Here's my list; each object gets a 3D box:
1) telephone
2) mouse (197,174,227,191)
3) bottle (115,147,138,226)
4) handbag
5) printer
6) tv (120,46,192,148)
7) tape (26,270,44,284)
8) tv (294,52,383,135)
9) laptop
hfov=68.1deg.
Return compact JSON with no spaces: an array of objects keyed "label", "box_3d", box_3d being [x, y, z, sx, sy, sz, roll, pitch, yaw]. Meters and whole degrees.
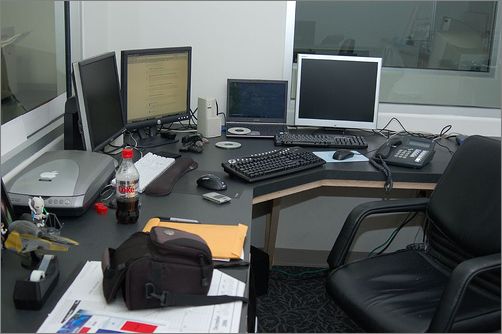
[{"label":"telephone","box_3d":[0.920,-0.069,2.224,0.375,0.147,0.344,18,43,35]},{"label":"mouse","box_3d":[-0.193,0.069,1.834,0.122,0.044,0.074,4,19,23]},{"label":"bottle","box_3d":[-0.531,0.064,1.565,0.110,0.281,0.221,-7,28,-16]},{"label":"handbag","box_3d":[-0.274,0.295,1.199,0.364,0.152,0.261,2,9,-18]},{"label":"printer","box_3d":[-0.865,0.060,1.684,0.350,0.125,0.389,2,27,0]},{"label":"tv","box_3d":[-0.614,-0.455,2.355,0.231,0.646,0.577,19,24,41]},{"label":"tape","box_3d":[-0.675,0.344,1.167,0.029,0.031,0.041,7,7,5]},{"label":"tv","box_3d":[0.604,-0.520,2.588,0.594,0.506,0.048,3,7,0]},{"label":"laptop","box_3d":[0.043,-0.399,2.511,0.473,0.321,0.401,4,24,4]}]
